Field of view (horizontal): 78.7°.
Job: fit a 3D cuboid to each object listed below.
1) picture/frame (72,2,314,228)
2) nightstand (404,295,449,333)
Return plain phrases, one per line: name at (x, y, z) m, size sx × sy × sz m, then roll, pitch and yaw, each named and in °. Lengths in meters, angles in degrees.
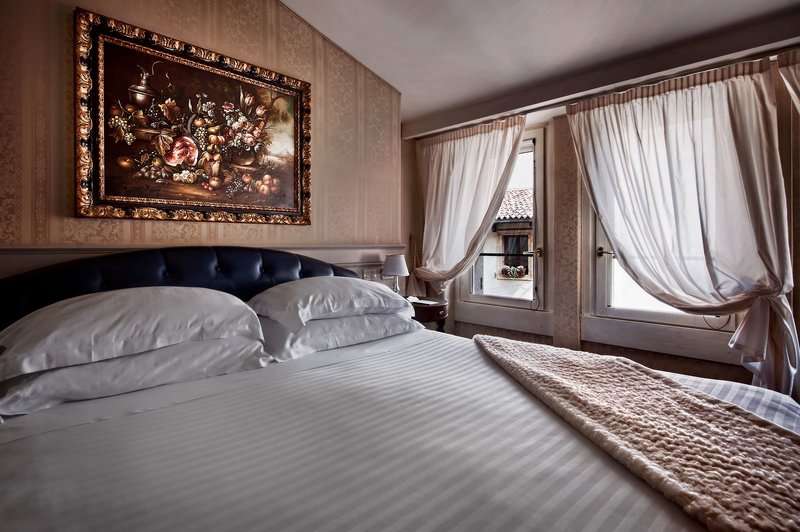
picture/frame at (-1.388, -0.978, 3.118) m, size 1.652 × 1.111 × 0.077 m, roll 4°, pitch -3°, yaw -40°
nightstand at (0.226, 0.377, 4.050) m, size 0.311 × 0.224 × 0.320 m, roll -4°, pitch 6°, yaw -26°
